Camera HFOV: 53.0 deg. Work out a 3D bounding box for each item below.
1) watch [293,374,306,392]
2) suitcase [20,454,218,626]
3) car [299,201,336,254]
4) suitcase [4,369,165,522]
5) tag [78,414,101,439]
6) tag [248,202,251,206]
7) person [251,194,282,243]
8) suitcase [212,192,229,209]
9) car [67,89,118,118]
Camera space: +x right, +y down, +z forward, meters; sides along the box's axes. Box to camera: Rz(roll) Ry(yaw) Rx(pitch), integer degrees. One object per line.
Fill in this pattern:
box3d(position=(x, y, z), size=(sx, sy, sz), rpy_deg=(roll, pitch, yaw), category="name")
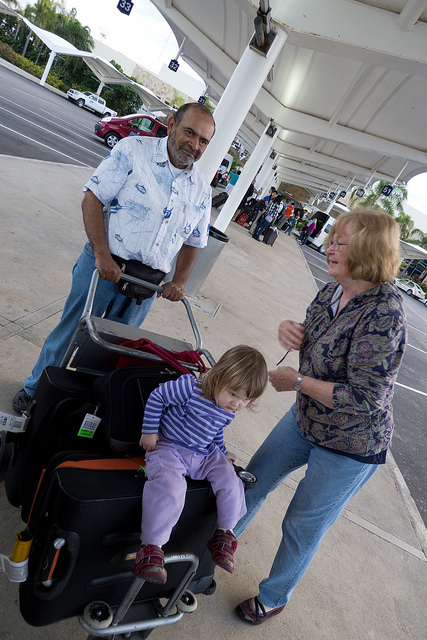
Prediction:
box3d(position=(0.338, 0.237, 1.661), size=(0.036, 0.063, 0.060), rpy_deg=(26, 24, 18), category="watch")
box3d(position=(-0.304, 0.652, 1.300), size=(0.572, 0.504, 0.252), rpy_deg=(9, 12, -33), category="suitcase")
box3d(position=(6.665, -5.862, 27.199), size=(1.698, 3.228, 4.167), rpy_deg=(34, 12, 1), category="car")
box3d(position=(-0.434, 0.442, 1.767), size=(0.448, 0.648, 0.576), rpy_deg=(28, -13, -36), category="suitcase")
box3d(position=(-0.437, 0.368, 1.498), size=(0.085, 0.116, 0.008), rpy_deg=(16, 20, -34), category="tag")
box3d(position=(1.423, -4.634, 16.898), size=(0.075, 0.137, 0.075), rpy_deg=(14, -5, 43), category="tag")
box3d(position=(1.986, -3.968, 16.121), size=(0.624, 2.232, 0.566), rpy_deg=(27, -17, -10), category="person")
box3d(position=(0.204, -4.449, 15.725), size=(0.422, 0.583, 1.646), rpy_deg=(32, 12, -9), category="suitcase")
box3d(position=(-9.008, -15.870, 31.188), size=(3.179, 1.351, 1.515), rpy_deg=(35, 12, -1), category="car")
